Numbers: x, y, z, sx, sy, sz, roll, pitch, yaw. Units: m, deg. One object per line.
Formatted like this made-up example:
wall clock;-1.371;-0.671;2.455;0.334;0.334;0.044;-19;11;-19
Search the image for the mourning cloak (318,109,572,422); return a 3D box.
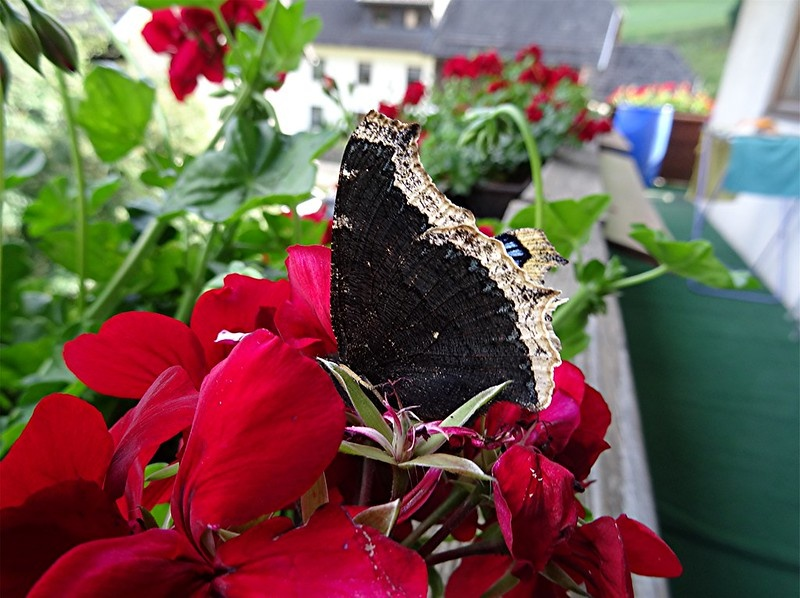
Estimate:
mourning cloak;0.028;-0.052;0.426;0.138;0.217;0.153;-9;64;11
